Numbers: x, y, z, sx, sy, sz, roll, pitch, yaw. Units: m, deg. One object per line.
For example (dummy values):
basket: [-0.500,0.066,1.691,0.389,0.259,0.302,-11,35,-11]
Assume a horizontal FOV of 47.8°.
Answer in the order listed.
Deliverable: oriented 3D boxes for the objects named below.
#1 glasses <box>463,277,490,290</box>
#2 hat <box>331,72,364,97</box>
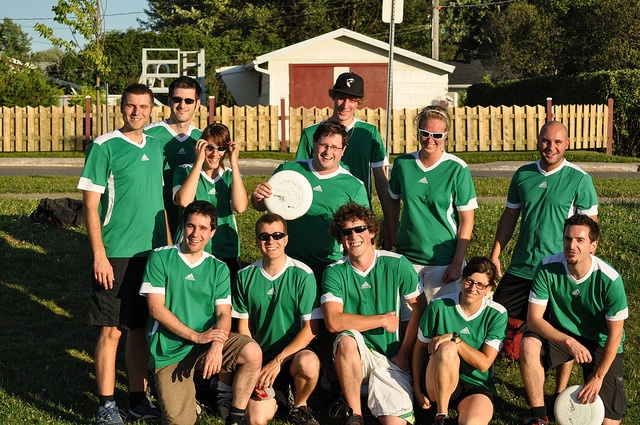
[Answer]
glasses: [2.323,1.047,10.724,0.391,0.165,0.084,1,5,-3]
hat: [0.444,-2.133,12.147,0.566,0.416,0.331,1,5,-1]
